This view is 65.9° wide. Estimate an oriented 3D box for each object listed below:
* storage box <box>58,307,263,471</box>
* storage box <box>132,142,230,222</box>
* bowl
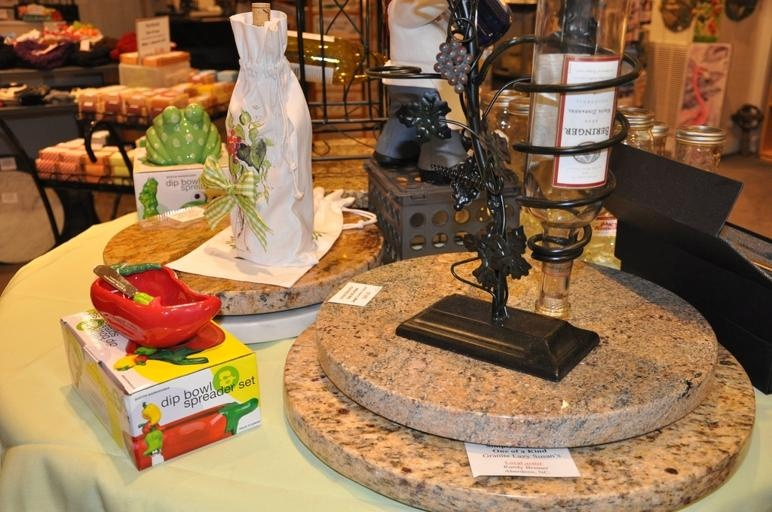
[{"bbox_3d":[-0.358,0.206,0.956,0.217,0.126,0.289,-17,32,-32],"label":"storage box"},{"bbox_3d":[-0.539,-0.173,1.486,0.198,0.116,0.190,-9,27,-20],"label":"storage box"},{"bbox_3d":[-0.378,0.082,0.996,0.237,0.089,0.143,17,26,27],"label":"bowl"}]
